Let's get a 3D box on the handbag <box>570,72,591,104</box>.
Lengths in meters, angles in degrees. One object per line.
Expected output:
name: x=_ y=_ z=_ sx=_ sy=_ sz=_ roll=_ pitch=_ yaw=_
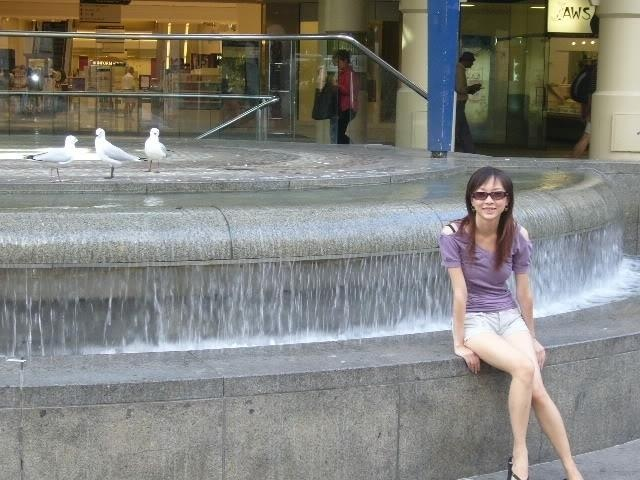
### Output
handbag: x=5.821 y=-3.385 z=20.227 sx=0.158 sy=0.746 sz=0.723 roll=7 pitch=1 yaw=3

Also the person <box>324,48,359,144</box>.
person: x=0.372 y=-2.360 z=14.985 sx=0.388 sy=1.504 sz=0.542 roll=-1 pitch=9 yaw=11

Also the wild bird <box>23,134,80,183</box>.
wild bird: x=-2.484 y=-0.765 z=8.425 sx=0.393 sy=0.405 sz=1.480 roll=-5 pitch=10 yaw=-14

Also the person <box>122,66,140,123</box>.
person: x=-3.133 y=-2.395 z=14.852 sx=0.271 sy=0.818 sz=0.526 roll=-4 pitch=9 yaw=-12

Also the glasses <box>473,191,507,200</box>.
glasses: x=0.990 y=-0.260 z=5.296 sx=0.199 sy=0.056 sz=0.043 roll=-1 pitch=9 yaw=8
